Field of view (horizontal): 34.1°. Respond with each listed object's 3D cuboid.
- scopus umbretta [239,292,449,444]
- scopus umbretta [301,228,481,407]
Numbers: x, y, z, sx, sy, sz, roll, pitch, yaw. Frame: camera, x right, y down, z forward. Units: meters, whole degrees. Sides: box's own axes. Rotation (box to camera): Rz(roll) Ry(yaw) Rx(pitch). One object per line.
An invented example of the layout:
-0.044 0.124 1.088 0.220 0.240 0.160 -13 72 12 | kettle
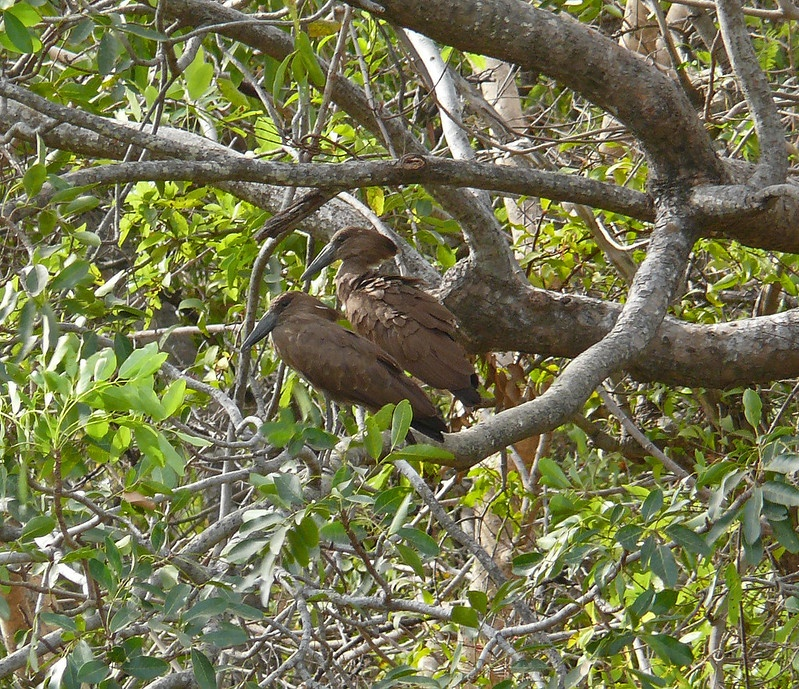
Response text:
-0.240 0.110 5.684 0.857 0.640 0.346 -1 0 10 | scopus umbretta
0.009 -0.145 5.895 0.888 0.762 0.352 5 9 32 | scopus umbretta
